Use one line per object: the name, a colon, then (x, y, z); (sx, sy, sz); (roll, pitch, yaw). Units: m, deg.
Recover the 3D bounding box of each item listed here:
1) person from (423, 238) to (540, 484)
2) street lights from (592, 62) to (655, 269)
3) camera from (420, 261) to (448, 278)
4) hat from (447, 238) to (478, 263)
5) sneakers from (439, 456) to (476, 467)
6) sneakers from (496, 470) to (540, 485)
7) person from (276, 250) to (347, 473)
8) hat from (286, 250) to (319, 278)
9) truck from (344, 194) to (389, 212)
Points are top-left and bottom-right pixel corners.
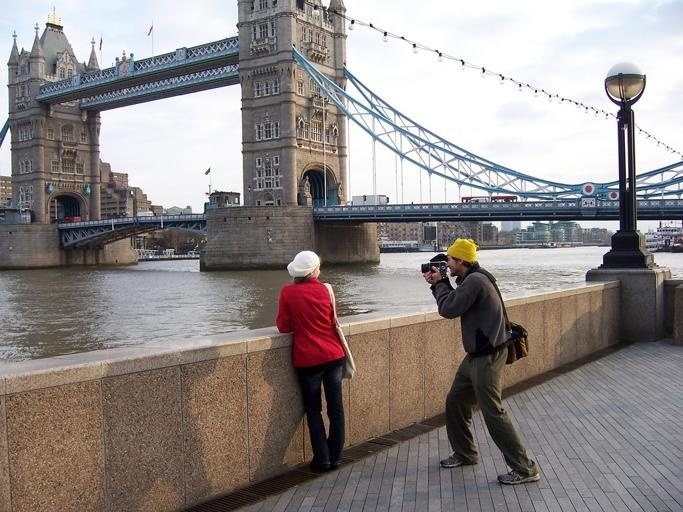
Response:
person: (1.070, 0.757, 5.580); (0.832, 1.652, 0.665); (-2, -1, 8)
street lights: (4.314, -1.342, 10.885); (0.718, 3.080, 0.716); (-2, -1, 24)
camera: (0.710, 0.083, 5.453); (0.158, 0.100, 0.148); (-1, 1, 2)
hat: (0.934, -0.045, 5.545); (0.220, 0.182, 0.169); (-3, 2, 12)
sneakers: (0.894, 1.587, 5.576); (0.268, 0.126, 0.097); (3, -3, -3)
sneakers: (1.293, 1.588, 5.247); (0.276, 0.130, 0.109); (2, -7, -3)
person: (-0.232, 0.808, 5.614); (0.529, 1.336, 0.376); (-2, -1, -5)
hat: (-0.293, 0.070, 5.528); (0.230, 0.182, 0.090); (-17, -26, 3)
truck: (2.316, -4.665, 61.306); (2.976, 1.147, 11.552); (-2, 0, 2)
